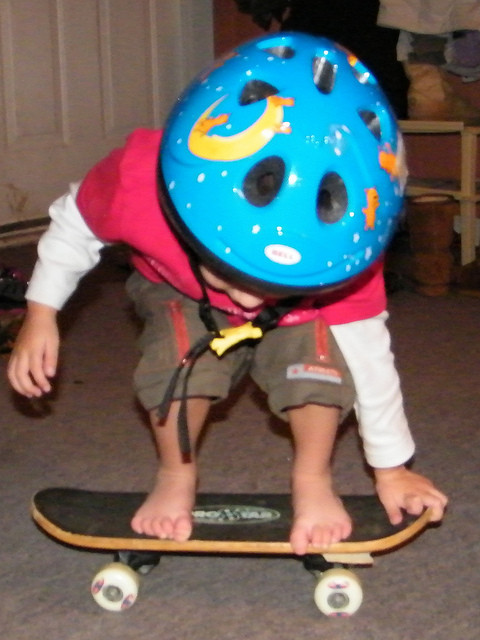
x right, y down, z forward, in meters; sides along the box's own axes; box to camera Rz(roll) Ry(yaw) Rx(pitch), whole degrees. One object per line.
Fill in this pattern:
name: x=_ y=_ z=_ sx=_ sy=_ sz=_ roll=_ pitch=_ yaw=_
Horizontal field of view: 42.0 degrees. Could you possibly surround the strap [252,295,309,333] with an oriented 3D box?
strap: x=0.059 y=-0.012 z=0.968 sx=0.028 sy=0.117 sz=0.026 roll=-26 pitch=87 yaw=-47
